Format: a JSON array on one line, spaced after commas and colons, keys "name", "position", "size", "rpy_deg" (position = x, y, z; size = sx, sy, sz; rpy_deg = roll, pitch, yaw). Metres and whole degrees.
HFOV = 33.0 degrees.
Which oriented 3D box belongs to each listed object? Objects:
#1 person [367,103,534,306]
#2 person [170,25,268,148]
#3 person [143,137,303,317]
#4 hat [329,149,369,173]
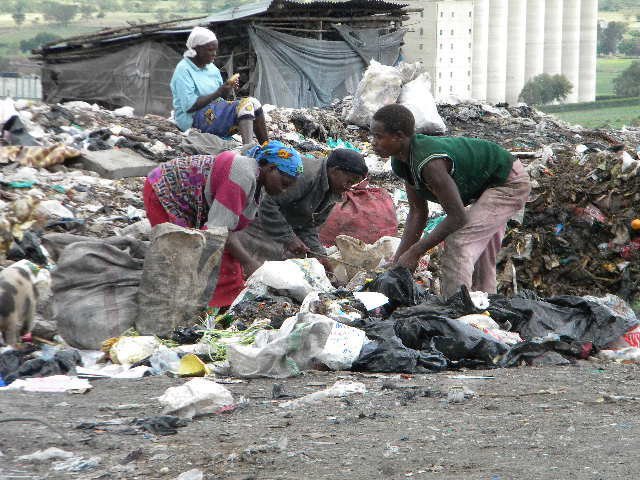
[{"name": "person", "position": [1.010, -0.301, 8.213], "size": [0.867, 1.452, 0.907], "rpy_deg": [3, 7, 33]}, {"name": "person", "position": [-1.065, -1.589, 10.991], "size": [0.707, 1.218, 1.236], "rpy_deg": [-5, 7, -34]}, {"name": "person", "position": [-0.745, -0.107, 8.175], "size": [1.147, 1.282, 0.552], "rpy_deg": [-2, 7, -11]}, {"name": "hat", "position": [0.230, -0.642, 8.625], "size": [0.283, 0.130, 0.193], "rpy_deg": [24, 11, 6]}]
